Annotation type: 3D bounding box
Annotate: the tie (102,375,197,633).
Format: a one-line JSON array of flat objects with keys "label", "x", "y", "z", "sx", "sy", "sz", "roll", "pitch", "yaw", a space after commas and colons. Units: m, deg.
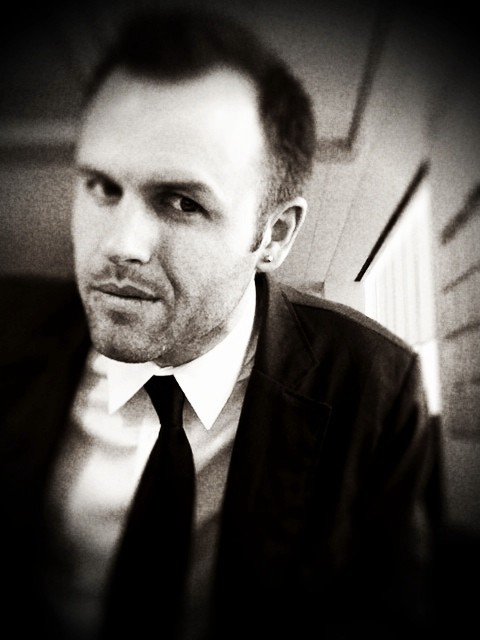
[{"label": "tie", "x": -0.165, "y": 0.371, "z": 1.218, "sx": 0.163, "sy": 0.460, "sz": 0.197, "roll": 6, "pitch": 22, "yaw": -2}]
